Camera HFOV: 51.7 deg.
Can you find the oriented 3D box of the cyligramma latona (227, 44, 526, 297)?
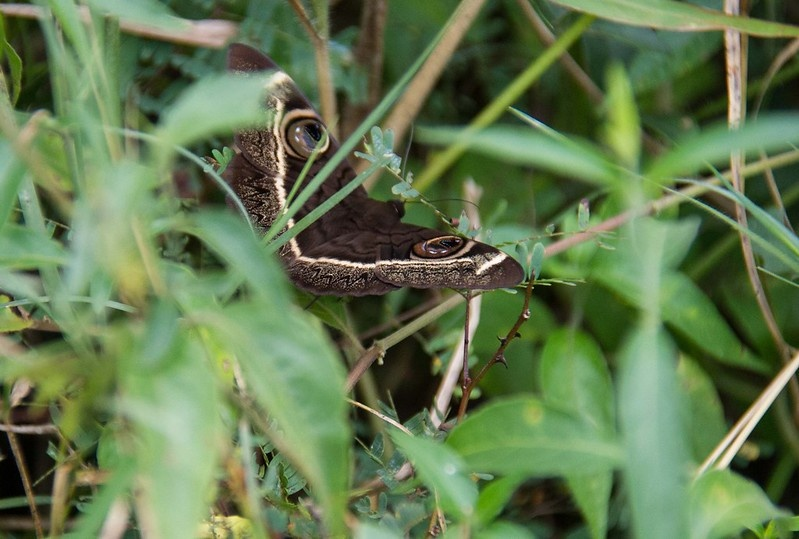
[{"bbox_3d":[-0.078,-0.110,1.511,0.360,0.678,0.162,-18,-31,-41],"label":"cyligramma latona"}]
